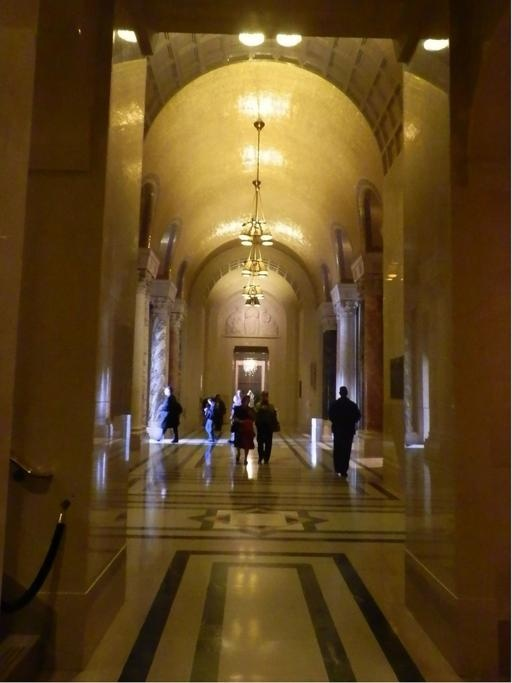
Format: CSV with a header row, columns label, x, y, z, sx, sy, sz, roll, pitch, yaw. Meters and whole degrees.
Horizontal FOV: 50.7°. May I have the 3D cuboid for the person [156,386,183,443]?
label,x,y,z,sx,sy,sz,roll,pitch,yaw
person,-2.361,2.000,14.791,0.589,1.516,2.949,1,-11,-10

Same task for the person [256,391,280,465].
label,x,y,z,sx,sy,sz,roll,pitch,yaw
person,0.217,1.717,10.880,0.397,1.543,0.417,5,11,6

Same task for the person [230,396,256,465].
label,x,y,z,sx,sy,sz,roll,pitch,yaw
person,-0.252,1.675,10.637,0.344,1.386,0.411,2,12,-2

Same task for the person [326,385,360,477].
label,x,y,z,sx,sy,sz,roll,pitch,yaw
person,1.522,1.550,9.332,0.496,1.526,0.725,-2,-8,9
